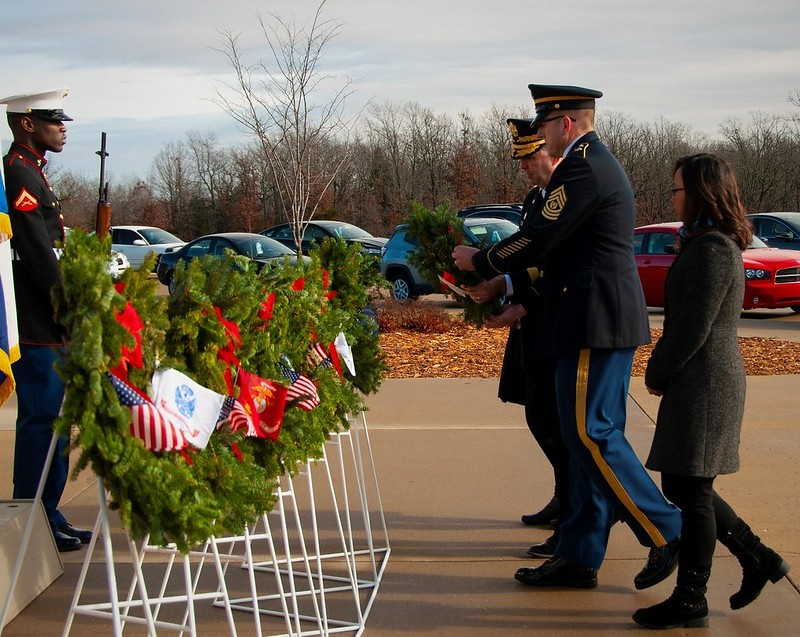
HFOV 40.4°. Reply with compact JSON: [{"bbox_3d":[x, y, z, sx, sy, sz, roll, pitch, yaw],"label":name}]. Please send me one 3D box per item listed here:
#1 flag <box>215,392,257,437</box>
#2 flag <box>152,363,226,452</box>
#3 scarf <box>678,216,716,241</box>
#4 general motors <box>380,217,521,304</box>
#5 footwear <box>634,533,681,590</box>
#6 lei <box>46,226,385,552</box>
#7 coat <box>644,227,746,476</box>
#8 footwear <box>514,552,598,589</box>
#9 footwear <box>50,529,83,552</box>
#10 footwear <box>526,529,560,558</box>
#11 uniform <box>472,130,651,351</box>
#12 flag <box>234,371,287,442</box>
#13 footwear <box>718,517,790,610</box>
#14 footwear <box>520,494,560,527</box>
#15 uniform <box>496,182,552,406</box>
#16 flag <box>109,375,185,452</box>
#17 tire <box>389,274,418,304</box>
[{"bbox_3d":[-0.627,0.380,4.205,0.041,0.148,0.134,-25,-30,38],"label":"flag"},{"bbox_3d":[-0.791,0.340,4.046,0.257,0.205,0.034,41,-32,-17],"label":"flag"},{"bbox_3d":[1.365,-0.423,5.009,0.045,0.112,0.083,32,-17,-37],"label":"scarf"},{"bbox_3d":[0.485,-0.822,14.927,1.832,0.918,1.124,-6,8,29],"label":"general motors"},{"bbox_3d":[1.245,1.164,5.208,0.105,0.156,0.341,-10,-7,39],"label":"footwear"},{"bbox_3d":[-0.723,0.214,4.258,1.125,0.931,1.765,6,7,23],"label":"lei"},{"bbox_3d":[1.356,0.158,4.989,0.442,1.122,0.322,-1,8,17],"label":"coat"},{"bbox_3d":[0.776,1.256,5.384,0.398,0.200,0.160,5,-1,6],"label":"footwear"},{"bbox_3d":[-1.718,1.158,5.613,0.185,0.089,0.068,0,3,3],"label":"footwear"},{"bbox_3d":[0.751,1.174,5.583,0.215,0.101,0.076,6,-7,-42],"label":"footwear"},{"bbox_3d":[0.695,-0.321,5.153,0.952,1.521,0.708,-1,0,13],"label":"uniform"},{"bbox_3d":[-0.567,0.347,4.424,0.290,0.251,0.025,10,0,35],"label":"flag"},{"bbox_3d":[1.615,1.155,5.068,0.316,0.330,0.137,48,11,23],"label":"footwear"},{"bbox_3d":[0.796,1.072,6.010,0.284,0.140,0.100,-1,-4,-9],"label":"footwear"},{"bbox_3d":[0.711,-0.133,5.807,0.267,1.217,0.318,5,9,3],"label":"uniform"},{"bbox_3d":[-0.925,0.349,3.932,0.296,0.098,0.088,41,13,-13],"label":"flag"},{"bbox_3d":[0.080,-0.412,14.603,0.144,0.452,0.404,0,-1,-28],"label":"tire"}]
